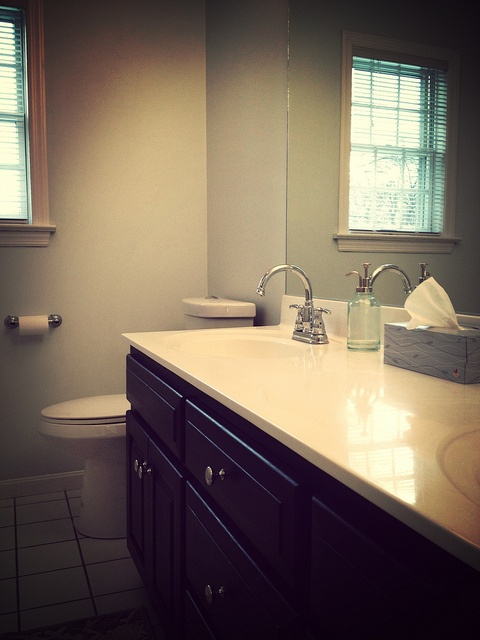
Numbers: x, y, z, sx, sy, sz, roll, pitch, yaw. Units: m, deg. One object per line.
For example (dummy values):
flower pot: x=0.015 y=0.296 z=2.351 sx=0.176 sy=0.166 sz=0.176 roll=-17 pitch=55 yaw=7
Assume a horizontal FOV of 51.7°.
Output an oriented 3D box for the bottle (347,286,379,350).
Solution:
bottle: x=0.294 y=-0.001 z=1.152 sx=0.088 sy=0.139 sz=0.093 roll=1 pitch=4 yaw=0

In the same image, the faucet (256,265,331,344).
faucet: x=0.118 y=-0.045 z=1.358 sx=0.176 sy=0.282 sz=0.194 roll=0 pitch=3 yaw=-26
